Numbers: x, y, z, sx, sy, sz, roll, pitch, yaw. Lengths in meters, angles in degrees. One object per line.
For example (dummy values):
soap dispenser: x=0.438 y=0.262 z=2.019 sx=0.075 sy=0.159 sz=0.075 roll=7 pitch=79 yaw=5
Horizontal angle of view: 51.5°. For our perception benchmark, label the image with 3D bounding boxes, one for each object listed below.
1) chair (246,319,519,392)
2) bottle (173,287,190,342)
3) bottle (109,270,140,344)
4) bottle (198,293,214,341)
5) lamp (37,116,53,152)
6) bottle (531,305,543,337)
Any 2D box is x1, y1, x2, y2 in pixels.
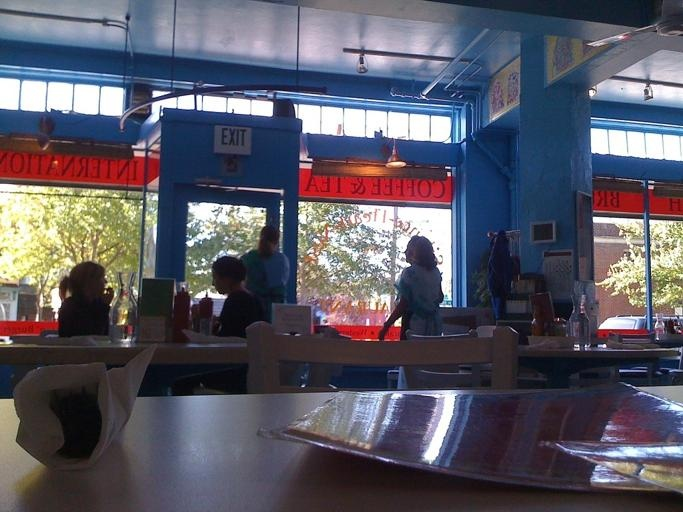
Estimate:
chair: x=0.074 y=0.181 z=1.286 sx=0.482 sy=0.133 sz=0.216 roll=-1 pitch=-3 yaw=-9
bottle: x=-0.617 y=0.225 z=2.728 sx=0.065 sy=0.206 sz=0.323 roll=0 pitch=-4 yaw=-12
bottle: x=-0.780 y=0.178 z=2.541 sx=0.094 sy=0.242 sz=0.348 roll=0 pitch=-4 yaw=-18
bottle: x=-0.567 y=0.247 z=2.975 sx=0.054 sy=0.157 sz=0.288 roll=0 pitch=-4 yaw=-11
lamp: x=-3.283 y=-1.391 z=7.863 sx=0.154 sy=0.429 sz=0.430 roll=0 pitch=-4 yaw=-22
bottle: x=0.863 y=0.280 z=3.090 sx=0.051 sy=0.130 sz=0.146 roll=-2 pitch=-3 yaw=15
